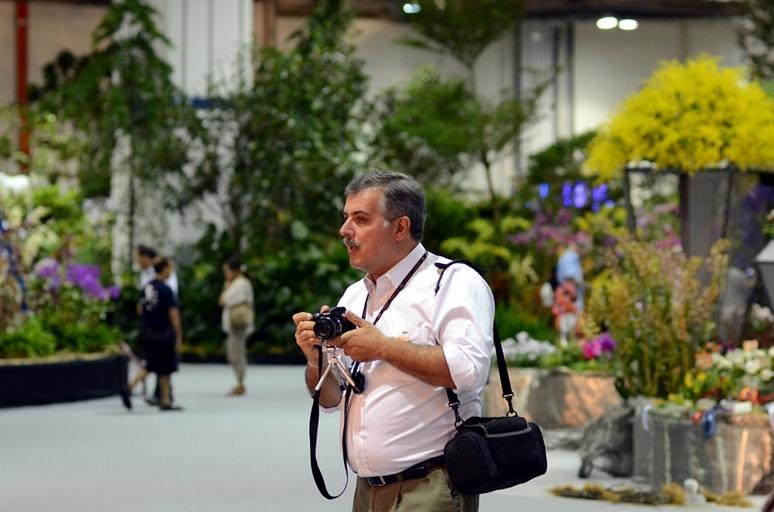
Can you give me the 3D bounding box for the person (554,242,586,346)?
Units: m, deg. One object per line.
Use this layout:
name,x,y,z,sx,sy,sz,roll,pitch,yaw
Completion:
person,1.599,0.219,12.658,0.352,1.156,0.307,-3,34,0

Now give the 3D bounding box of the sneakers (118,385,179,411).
sneakers,-1.587,0.924,9.611,0.426,0.182,0.137,-1,1,-11

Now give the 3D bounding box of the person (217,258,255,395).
person,-1.501,0.696,14.574,0.320,1.364,1.323,-1,2,-6

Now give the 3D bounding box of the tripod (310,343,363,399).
tripod,-0.290,0.636,8.284,0.159,0.277,0.200,4,38,27

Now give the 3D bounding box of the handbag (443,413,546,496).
handbag,0.628,1.107,8.230,0.586,0.443,0.318,-2,-20,-42

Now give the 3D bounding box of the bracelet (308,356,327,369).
bracelet,-0.402,0.607,8.360,0.079,0.065,0.082,1,-4,5

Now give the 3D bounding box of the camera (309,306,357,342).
camera,-0.345,0.370,8.220,0.186,0.191,0.226,-3,9,-29

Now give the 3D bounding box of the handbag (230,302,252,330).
handbag,-1.454,0.579,14.673,0.222,0.309,0.303,-2,1,3

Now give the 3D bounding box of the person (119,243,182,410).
person,-1.551,0.471,9.531,0.393,1.101,0.157,-1,3,-17
